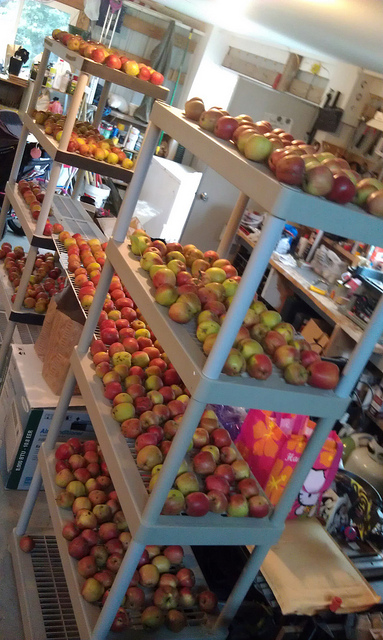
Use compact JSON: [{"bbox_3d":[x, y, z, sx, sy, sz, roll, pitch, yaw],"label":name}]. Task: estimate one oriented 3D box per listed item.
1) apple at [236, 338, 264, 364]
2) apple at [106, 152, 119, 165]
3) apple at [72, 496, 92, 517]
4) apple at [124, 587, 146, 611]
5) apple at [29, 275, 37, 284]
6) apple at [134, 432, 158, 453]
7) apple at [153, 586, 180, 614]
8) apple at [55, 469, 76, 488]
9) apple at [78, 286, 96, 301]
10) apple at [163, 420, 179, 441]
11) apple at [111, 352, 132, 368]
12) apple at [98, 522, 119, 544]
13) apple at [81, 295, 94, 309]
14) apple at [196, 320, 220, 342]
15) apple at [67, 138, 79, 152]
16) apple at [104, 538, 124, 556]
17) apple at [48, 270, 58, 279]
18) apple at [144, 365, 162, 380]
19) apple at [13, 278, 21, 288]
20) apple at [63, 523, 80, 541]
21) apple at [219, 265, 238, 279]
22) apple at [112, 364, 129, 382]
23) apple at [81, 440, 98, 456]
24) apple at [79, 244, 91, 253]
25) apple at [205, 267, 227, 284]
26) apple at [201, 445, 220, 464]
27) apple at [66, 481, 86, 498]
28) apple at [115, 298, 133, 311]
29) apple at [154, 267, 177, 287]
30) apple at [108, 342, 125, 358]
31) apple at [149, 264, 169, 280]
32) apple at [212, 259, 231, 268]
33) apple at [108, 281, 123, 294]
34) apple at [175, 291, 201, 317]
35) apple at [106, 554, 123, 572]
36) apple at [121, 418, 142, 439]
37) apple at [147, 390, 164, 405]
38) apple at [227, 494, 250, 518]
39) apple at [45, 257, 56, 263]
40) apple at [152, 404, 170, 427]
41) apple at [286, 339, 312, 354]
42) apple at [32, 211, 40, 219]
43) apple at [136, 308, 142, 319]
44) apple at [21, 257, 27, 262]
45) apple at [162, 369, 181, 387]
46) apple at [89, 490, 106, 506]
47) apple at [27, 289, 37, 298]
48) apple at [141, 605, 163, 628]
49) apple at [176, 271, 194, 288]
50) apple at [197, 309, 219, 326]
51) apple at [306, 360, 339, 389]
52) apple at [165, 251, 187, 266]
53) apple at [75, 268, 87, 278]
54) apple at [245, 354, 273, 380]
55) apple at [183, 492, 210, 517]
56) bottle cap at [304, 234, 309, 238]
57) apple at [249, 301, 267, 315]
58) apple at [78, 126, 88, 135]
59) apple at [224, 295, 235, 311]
[{"bbox_3d":[0.123,0.059,0.885,0.056,0.049,0.049,16,12,1],"label":"apple"},{"bbox_3d":[-0.516,-1.063,2.697,0.066,0.068,0.069,9,-11,-4],"label":"apple"},{"bbox_3d":[-0.383,0.661,1.445,0.052,0.068,0.055,8,-24,-8],"label":"apple"},{"bbox_3d":[-0.182,0.879,1.290,0.068,0.059,0.039,16,20,-40],"label":"apple"},{"bbox_3d":[-1.156,-0.303,3.008,0.065,0.064,0.064,-6,12,-25],"label":"apple"},{"bbox_3d":[-0.125,0.330,1.127,0.050,0.051,0.061,4,-10,-21],"label":"apple"},{"bbox_3d":[-0.082,0.901,1.327,0.076,0.079,0.080,14,-4,-11],"label":"apple"},{"bbox_3d":[-0.470,0.586,1.522,0.065,0.061,0.076,19,-19,-40],"label":"apple"},{"bbox_3d":[-0.512,-0.141,2.012,0.083,0.085,0.098,2,9,-27],"label":"apple"},{"bbox_3d":[-0.067,0.327,1.250,0.035,0.046,0.079,26,17,-10],"label":"apple"},{"bbox_3d":[-0.247,0.136,1.458,0.052,0.054,0.052,-6,-31,4],"label":"apple"},{"bbox_3d":[-0.279,0.719,1.391,0.056,0.058,0.069,-2,32,17],"label":"apple"},{"bbox_3d":[-0.496,-0.095,1.943,0.041,0.066,0.117,23,18,-22],"label":"apple"},{"bbox_3d":[0.035,0.012,0.928,0.044,0.046,0.055,25,18,18],"label":"apple"},{"bbox_3d":[-0.724,-1.074,2.519,0.076,0.080,0.077,2,21,-9],"label":"apple"},{"bbox_3d":[-0.253,0.745,1.347,0.040,0.041,0.039,18,-11,-15],"label":"apple"},{"bbox_3d":[-1.034,-0.347,3.079,0.059,0.059,0.060,9,15,-30],"label":"apple"},{"bbox_3d":[-0.135,0.186,1.467,0.043,0.045,0.045,-5,15,18],"label":"apple"},{"bbox_3d":[-1.266,-0.272,2.972,0.053,0.065,0.055,14,36,-12],"label":"apple"},{"bbox_3d":[-0.397,0.698,1.354,0.048,0.045,0.048,39,5,30],"label":"apple"},{"bbox_3d":[0.113,-0.158,1.315,0.043,0.045,0.044,6,-32,12],"label":"apple"},{"bbox_3d":[-0.239,0.175,1.418,0.053,0.054,0.066,-3,7,21],"label":"apple"},{"bbox_3d":[-0.417,0.518,1.690,0.052,0.055,0.051,-11,-5,-3],"label":"apple"},{"bbox_3d":[-0.644,-0.439,2.501,0.051,0.053,0.063,1,14,9],"label":"apple"},{"bbox_3d":[0.079,-0.125,1.252,0.045,0.047,0.047,-8,-51,50],"label":"apple"},{"bbox_3d":[0.056,0.398,1.261,0.051,0.053,0.051,7,13,21],"label":"apple"},{"bbox_3d":[-0.420,0.616,1.497,0.050,0.064,0.056,0,-2,-4],"label":"apple"},{"bbox_3d":[-0.313,-0.078,1.894,0.061,0.063,0.075,-1,6,-1],"label":"apple"},{"bbox_3d":[-0.071,-0.116,1.086,0.048,0.051,0.061,-16,-14,0],"label":"apple"},{"bbox_3d":[-0.274,0.107,1.524,0.049,0.050,0.061,17,53,-29],"label":"apple"},{"bbox_3d":[-0.093,-0.147,1.174,0.041,0.043,0.051,-13,19,1],"label":"apple"},{"bbox_3d":[0.096,-0.194,1.340,0.042,0.035,0.035,-6,15,-41],"label":"apple"},{"bbox_3d":[-0.384,-0.160,2.068,0.052,0.055,0.063,1,-3,2],"label":"apple"},{"bbox_3d":[0.001,-0.039,1.047,0.055,0.068,0.056,-7,-4,-33],"label":"apple"},{"bbox_3d":[-0.249,0.776,1.306,0.040,0.042,0.038,24,17,-18],"label":"apple"},{"bbox_3d":[-0.169,0.309,1.174,0.056,0.051,0.065,-9,-2,3],"label":"apple"},{"bbox_3d":[-0.115,0.253,1.336,0.036,0.041,0.040,4,-3,-1],"label":"apple"},{"bbox_3d":[0.125,0.502,1.109,0.056,0.055,0.058,19,-33,-11],"label":"apple"},{"bbox_3d":[-1.106,-0.475,3.228,0.041,0.051,0.041,9,4,-24],"label":"apple"},{"bbox_3d":[-0.089,0.298,1.275,0.058,0.072,0.058,11,-21,-23],"label":"apple"},{"bbox_3d":[0.276,0.059,1.045,0.048,0.040,0.041,4,-1,40],"label":"apple"},{"bbox_3d":[-1.063,-0.726,2.806,0.029,0.054,0.118,19,20,-32],"label":"apple"},{"bbox_3d":[-0.225,-0.025,1.758,0.030,0.031,0.031,25,-13,21],"label":"apple"},{"bbox_3d":[-1.391,-0.513,3.430,0.041,0.042,0.048,-5,20,-44],"label":"apple"},{"bbox_3d":[-0.072,0.208,1.477,0.060,0.079,0.064,4,-2,5],"label":"apple"},{"bbox_3d":[-0.337,0.640,1.480,0.045,0.045,0.045,10,3,-41],"label":"apple"},{"bbox_3d":[-1.101,-0.185,2.852,0.045,0.045,0.053,13,28,-51],"label":"apple"},{"bbox_3d":[-0.121,0.920,1.271,0.056,0.058,0.071,-2,-2,-2],"label":"apple"},{"bbox_3d":[-0.025,-0.118,1.146,0.042,0.052,0.044,6,29,-23],"label":"apple"},{"bbox_3d":[0.040,-0.010,0.968,0.035,0.038,0.036,21,49,5],"label":"apple"},{"bbox_3d":[0.304,0.122,0.987,0.068,0.069,0.089,10,7,43],"label":"apple"},{"bbox_3d":[-0.050,-0.204,1.302,0.055,0.045,0.047,11,22,-23],"label":"apple"},{"bbox_3d":[-0.597,-0.264,2.236,0.060,0.053,0.052,-11,-11,9],"label":"apple"},{"bbox_3d":[0.137,0.094,0.834,0.049,0.051,0.047,0,17,-10],"label":"apple"},{"bbox_3d":[0.013,0.446,1.040,0.058,0.060,0.074,-2,4,8],"label":"apple"},{"bbox_3d":[1.420,-1.047,5.091,0.051,0.053,0.096,-3,7,5],"label":"bottle cap"},{"bbox_3d":[0.184,-0.037,1.127,0.033,0.034,0.039,39,19,-2],"label":"apple"},{"bbox_3d":[-0.780,-1.384,3.011,0.063,0.081,0.065,5,19,7],"label":"apple"},{"bbox_3d":[0.092,-0.048,1.092,0.036,0.037,0.043,-3,-8,-19],"label":"apple"}]
